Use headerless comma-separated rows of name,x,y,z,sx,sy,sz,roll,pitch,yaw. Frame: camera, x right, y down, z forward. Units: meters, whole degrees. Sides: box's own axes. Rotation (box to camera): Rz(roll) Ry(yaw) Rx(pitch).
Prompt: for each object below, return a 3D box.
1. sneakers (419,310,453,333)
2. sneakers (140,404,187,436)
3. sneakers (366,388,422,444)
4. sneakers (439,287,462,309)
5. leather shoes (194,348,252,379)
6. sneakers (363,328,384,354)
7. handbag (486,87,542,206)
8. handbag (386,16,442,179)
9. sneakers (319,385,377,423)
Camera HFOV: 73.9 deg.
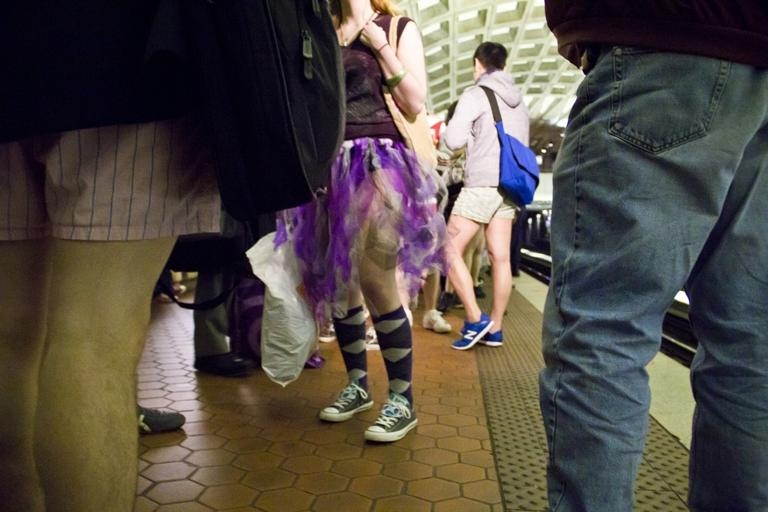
sneakers,0.479,0.608,4.766,0.124,0.163,0.360,-2,0,-30
sneakers,-1.121,0.808,2.567,0.284,0.133,0.105,3,8,-22
sneakers,0.053,0.797,2.569,0.146,0.200,0.434,-5,-5,33
sneakers,0.746,0.502,5.850,0.137,0.193,0.435,-4,-5,13
leather shoes,-1.072,0.707,3.411,0.350,0.155,0.156,2,-2,13
sneakers,-0.098,0.664,4.117,0.168,0.094,0.278,-2,-1,4
handbag,1.017,-1.017,4.288,0.412,1.080,0.395,-6,0,17
handbag,0.143,-0.813,2.743,0.243,0.663,0.440,-11,4,-37
sneakers,-0.191,0.770,2.772,0.139,0.175,0.394,0,1,38
